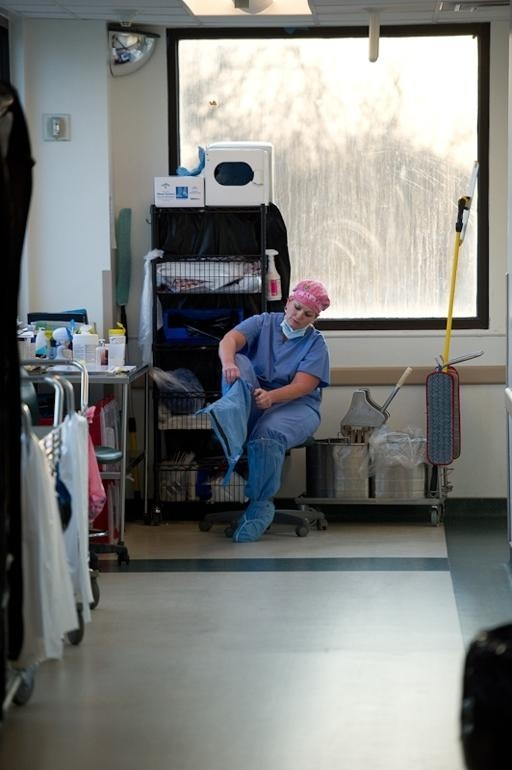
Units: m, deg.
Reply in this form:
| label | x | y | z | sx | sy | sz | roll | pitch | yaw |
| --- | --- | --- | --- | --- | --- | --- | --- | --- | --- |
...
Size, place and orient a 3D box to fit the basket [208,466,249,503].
| label | x | y | z | sx | sy | sz | roll | pitch | yaw |
| --- | --- | --- | --- | --- | --- | --- | --- | --- | --- |
| basket | -0.148 | 0.498 | 3.781 | 0.231 | 0.208 | 0.139 | 1 | 6 | 9 |

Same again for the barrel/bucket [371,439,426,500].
| label | x | y | z | sx | sy | sz | roll | pitch | yaw |
| --- | --- | --- | --- | --- | --- | --- | --- | --- | --- |
| barrel/bucket | 0.787 | 0.416 | 3.776 | 0.258 | 0.352 | 0.310 | 0 | 6 | 20 |

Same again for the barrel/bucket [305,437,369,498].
| label | x | y | z | sx | sy | sz | roll | pitch | yaw |
| --- | --- | --- | --- | --- | --- | --- | --- | --- | --- |
| barrel/bucket | 0.455 | 0.495 | 3.929 | 0.448 | 0.319 | 0.453 | 2 | -6 | 0 |

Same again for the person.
| label | x | y | z | sx | sy | sz | roll | pitch | yaw |
| --- | --- | --- | --- | --- | --- | --- | --- | --- | --- |
| person | 0.064 | 0.120 | 3.576 | 0.674 | 1.324 | 0.481 | 0 | -1 | -11 |

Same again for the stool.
| label | x | y | z | sx | sy | sz | roll | pitch | yaw |
| --- | --- | --- | --- | --- | --- | --- | --- | --- | --- |
| stool | 0.039 | 0.551 | 3.747 | 0.466 | 0.640 | 0.519 | 1 | 0 | -7 |

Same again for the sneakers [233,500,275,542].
| label | x | y | z | sx | sy | sz | roll | pitch | yaw |
| --- | --- | --- | --- | --- | --- | --- | --- | --- | --- |
| sneakers | -0.008 | 0.665 | 3.417 | 0.139 | 0.235 | 0.084 | 26 | -4 | 28 |

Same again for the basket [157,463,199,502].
| label | x | y | z | sx | sy | sz | roll | pitch | yaw |
| --- | --- | --- | --- | --- | --- | --- | --- | --- | --- |
| basket | -0.434 | 0.538 | 3.829 | 0.230 | 0.213 | 0.048 | -1 | -1 | 13 |

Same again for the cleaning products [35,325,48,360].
| label | x | y | z | sx | sy | sz | roll | pitch | yaw |
| --- | --- | --- | --- | --- | --- | --- | --- | --- | --- |
| cleaning products | -1.039 | -0.208 | 3.336 | 0.063 | 0.149 | 0.178 | 0 | -1 | -18 |
